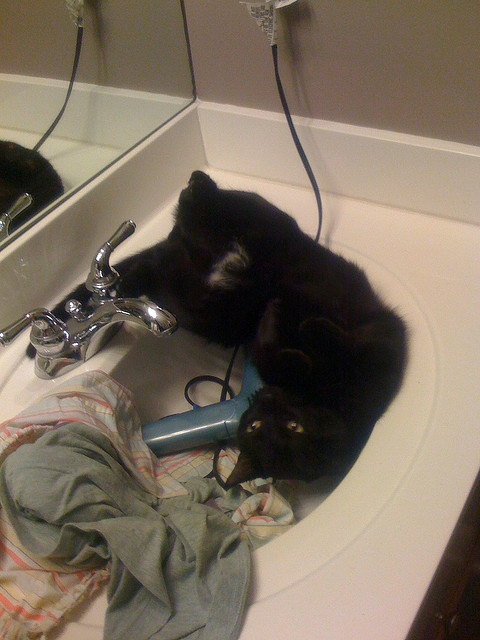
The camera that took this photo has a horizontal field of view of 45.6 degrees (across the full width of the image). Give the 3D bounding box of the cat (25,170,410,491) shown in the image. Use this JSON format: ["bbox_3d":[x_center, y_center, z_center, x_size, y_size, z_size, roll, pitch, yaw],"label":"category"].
[{"bbox_3d":[-0.017,0.036,1.051,0.525,0.434,0.605,3,39,16],"label":"cat"}]

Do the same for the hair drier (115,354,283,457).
[{"bbox_3d":[-0.011,0.149,0.947,0.363,0.126,0.074,-4,-3,-38],"label":"hair drier"}]
